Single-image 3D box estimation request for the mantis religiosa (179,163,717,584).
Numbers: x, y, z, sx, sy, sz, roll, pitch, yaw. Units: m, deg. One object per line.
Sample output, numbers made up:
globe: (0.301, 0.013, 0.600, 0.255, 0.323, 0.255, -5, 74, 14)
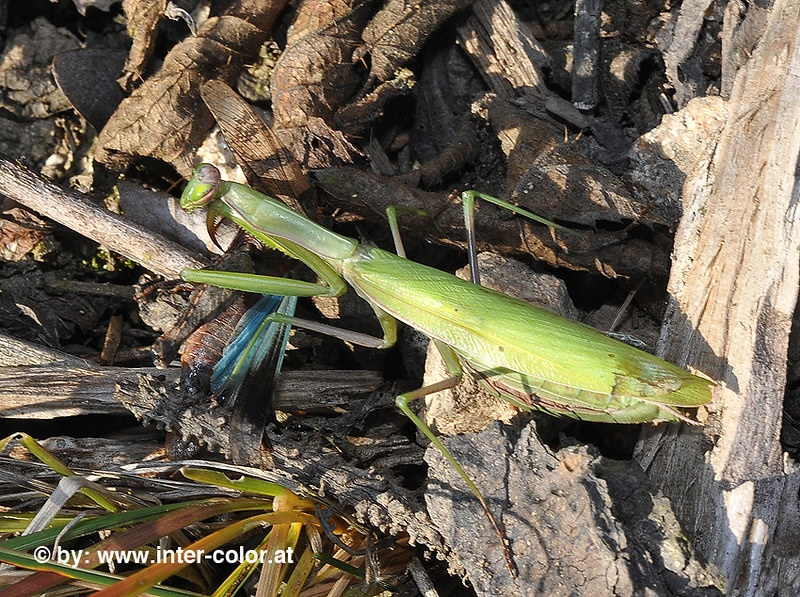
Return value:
mantis religiosa: (0.050, 0.164, 2.671, 1.714, 0.783, 0.694, 26, 31, 19)
